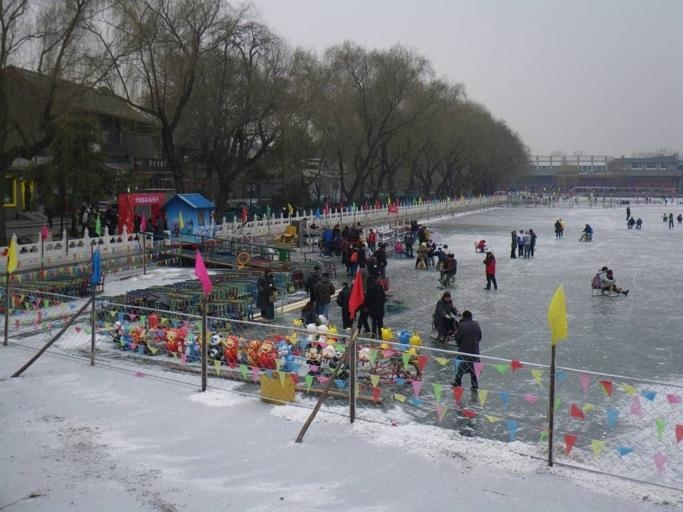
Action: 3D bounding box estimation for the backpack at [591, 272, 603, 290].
[{"bbox_3d":[9.510,0.920,25.911,0.294,0.715,0.466,1,8,-26],"label":"backpack"}]

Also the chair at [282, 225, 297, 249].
[{"bbox_3d":[-2.885,-1.097,38.419,0.608,0.830,1.167,4,25,9],"label":"chair"}]
